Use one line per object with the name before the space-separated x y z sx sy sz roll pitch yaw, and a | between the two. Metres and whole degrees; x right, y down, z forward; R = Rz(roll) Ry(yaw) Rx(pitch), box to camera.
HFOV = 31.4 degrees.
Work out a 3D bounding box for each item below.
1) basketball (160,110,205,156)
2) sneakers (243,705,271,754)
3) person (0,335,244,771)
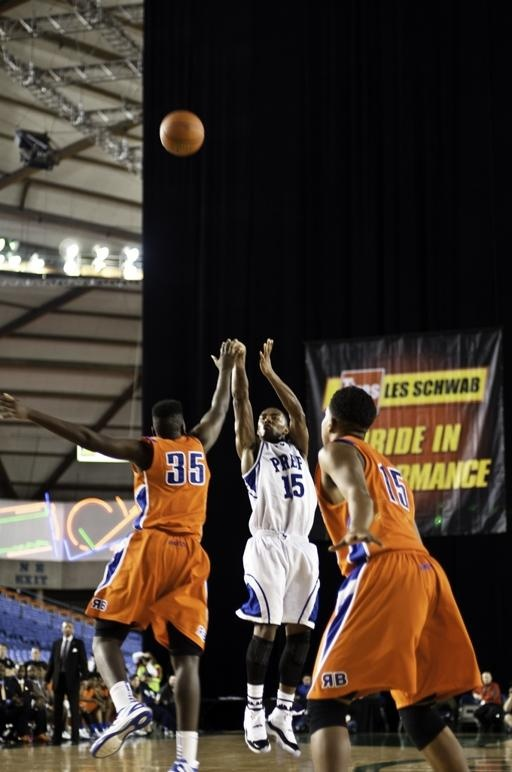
basketball | -0.572 -1.925 7.173 0.361 0.442 0.367 -3 -10 -5
sneakers | 0.009 1.800 4.752 0.124 0.302 0.299 1 -5 0
person | -0.517 0.847 3.774 0.687 1.385 0.505 2 -5 -13
